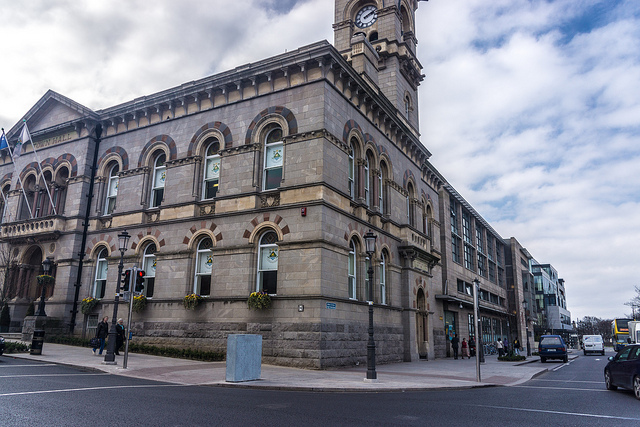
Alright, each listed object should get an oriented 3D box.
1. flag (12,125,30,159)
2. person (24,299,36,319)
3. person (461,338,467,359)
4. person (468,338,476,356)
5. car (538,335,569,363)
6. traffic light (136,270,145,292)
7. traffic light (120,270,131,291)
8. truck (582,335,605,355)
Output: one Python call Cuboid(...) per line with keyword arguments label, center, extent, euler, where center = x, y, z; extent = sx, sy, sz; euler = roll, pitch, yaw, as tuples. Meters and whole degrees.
Cuboid(label="flag", center=(-22.943, -5.476, 35.168), extent=(0.620, 1.797, 4.016), euler=(14, -24, -37))
Cuboid(label="person", center=(-20.593, 6.636, 32.593), extent=(0.418, 1.140, 1.345), euler=(16, -25, -41))
Cuboid(label="person", center=(12.623, 11.758, 40.094), extent=(0.488, 1.553, 1.064), euler=(-6, -19, 16))
Cuboid(label="person", center=(14.435, 12.709, 43.715), extent=(0.519, 1.583, 3.200), euler=(-7, -20, 17))
Cuboid(label="car", center=(19.918, 11.459, 39.217), extent=(1.632, 1.533, 3.164), euler=(-6, -11, 27))
Cuboid(label="traffic light", center=(-8.603, 3.167, 21.769), extent=(0.322, 1.041, 0.334), euler=(5, -19, -18))
Cuboid(label="traffic light", center=(-9.356, 3.215, 22.107), extent=(0.267, 0.968, 0.794), euler=(12, -23, -34))
Cuboid(label="truck", center=(36.112, 17.244, 60.752), extent=(2.059, 1.701, 3.259), euler=(-4, -11, 25))
